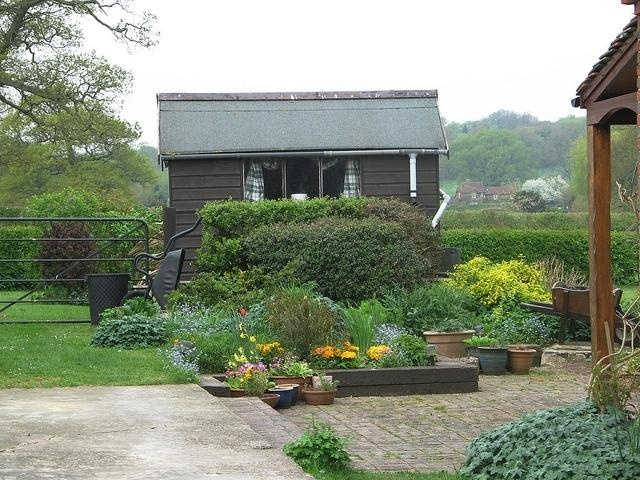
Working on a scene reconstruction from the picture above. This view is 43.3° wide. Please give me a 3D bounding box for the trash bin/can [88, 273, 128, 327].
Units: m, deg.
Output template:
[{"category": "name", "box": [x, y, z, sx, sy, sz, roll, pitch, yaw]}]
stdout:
[{"category": "trash bin/can", "box": [-3.927, 1.048, 14.432, 0.742, 0.885, 0.845, 0, 0, 16]}]
